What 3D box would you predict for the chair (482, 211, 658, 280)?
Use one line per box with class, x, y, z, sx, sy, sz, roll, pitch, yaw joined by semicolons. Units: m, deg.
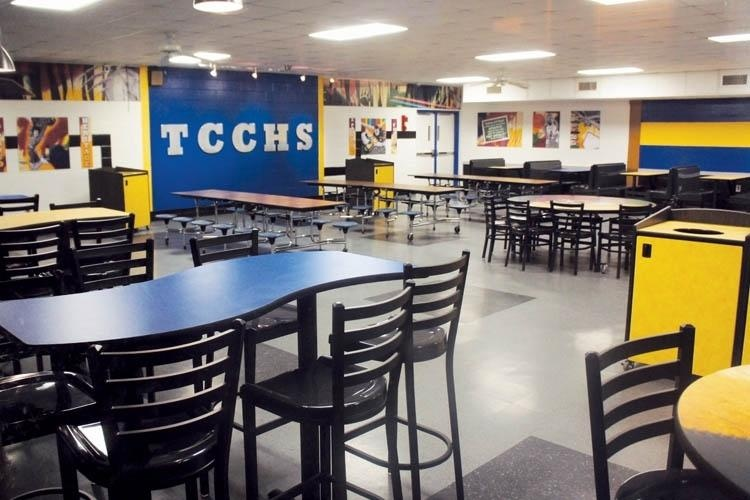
chair;2.894;-0.252;8.438;2.159;0.943;1.617;4;11;23
